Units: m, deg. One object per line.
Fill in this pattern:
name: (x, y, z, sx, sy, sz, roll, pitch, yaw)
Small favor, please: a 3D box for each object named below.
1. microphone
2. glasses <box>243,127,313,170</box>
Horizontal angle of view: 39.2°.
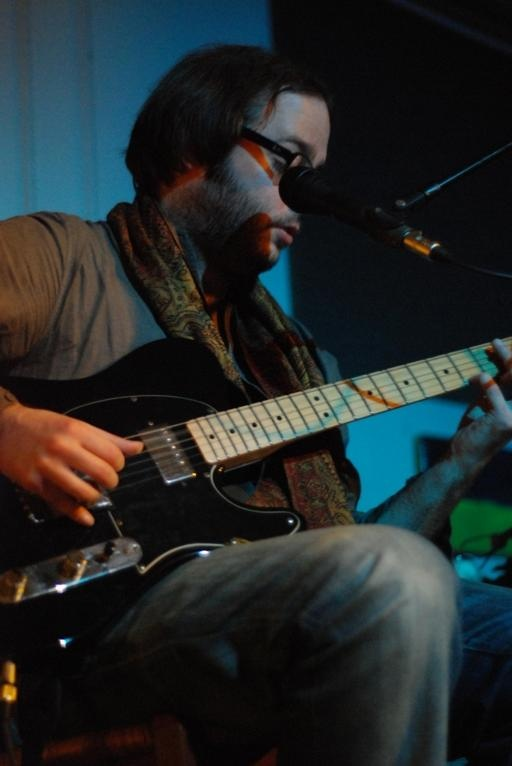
microphone: (0.142, -0.284, 1.141, 0.439, 0.094, 0.101, 18, 55, 39)
glasses: (0.030, -0.426, 1.343, 0.110, 0.031, 0.106, 28, 1, 1)
